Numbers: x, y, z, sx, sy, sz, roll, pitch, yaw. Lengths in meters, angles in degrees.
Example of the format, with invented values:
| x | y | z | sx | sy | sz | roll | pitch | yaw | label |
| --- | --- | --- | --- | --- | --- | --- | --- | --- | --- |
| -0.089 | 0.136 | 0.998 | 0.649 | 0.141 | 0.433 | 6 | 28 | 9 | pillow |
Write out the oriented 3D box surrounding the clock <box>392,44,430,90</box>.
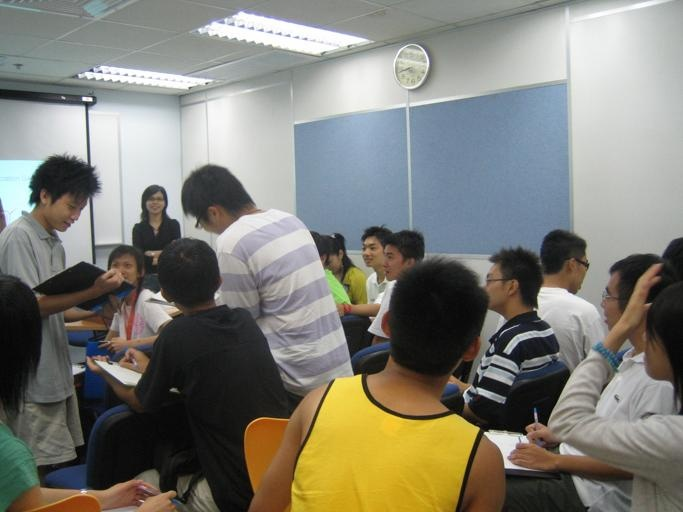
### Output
| x | y | z | sx | sy | sz | roll | pitch | yaw | label |
| --- | --- | --- | --- | --- | --- | --- | --- | --- | --- |
| 0.728 | -1.923 | 5.404 | 0.066 | 0.516 | 0.427 | -7 | 14 | -40 | clock |

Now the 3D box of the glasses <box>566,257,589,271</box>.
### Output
| x | y | z | sx | sy | sz | roll | pitch | yaw | label |
| --- | --- | --- | --- | --- | --- | --- | --- | --- | --- |
| 1.489 | 0.039 | 3.342 | 0.105 | 0.035 | 0.106 | 23 | 7 | 31 | glasses |

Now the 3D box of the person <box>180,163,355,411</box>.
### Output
| x | y | z | sx | sy | sz | roll | pitch | yaw | label |
| --- | --- | --- | --- | --- | --- | --- | --- | --- | --- |
| -0.330 | 0.440 | 2.742 | 0.587 | 1.849 | 0.673 | -13 | 18 | -19 | person |
